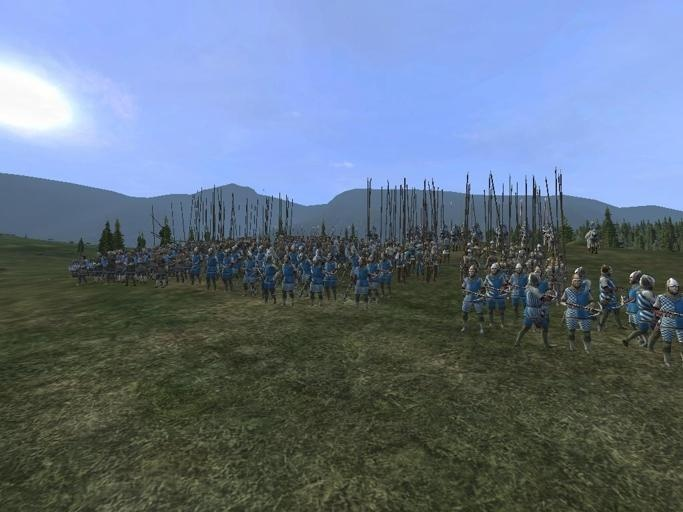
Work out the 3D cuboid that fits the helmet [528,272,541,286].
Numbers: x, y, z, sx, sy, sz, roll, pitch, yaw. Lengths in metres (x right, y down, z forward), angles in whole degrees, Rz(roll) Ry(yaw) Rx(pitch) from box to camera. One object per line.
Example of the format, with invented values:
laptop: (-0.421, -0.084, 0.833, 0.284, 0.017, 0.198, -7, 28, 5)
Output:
helmet: (7.015, 0.878, 17.898, 0.357, 0.433, 0.391, 14, 8, 9)
